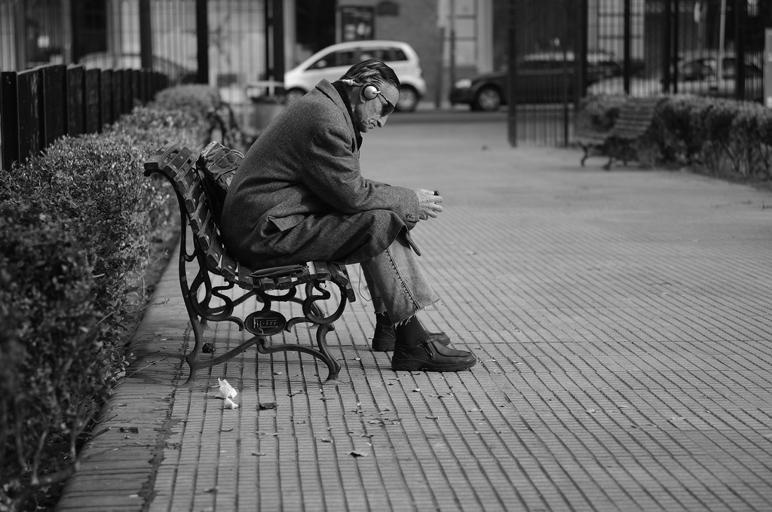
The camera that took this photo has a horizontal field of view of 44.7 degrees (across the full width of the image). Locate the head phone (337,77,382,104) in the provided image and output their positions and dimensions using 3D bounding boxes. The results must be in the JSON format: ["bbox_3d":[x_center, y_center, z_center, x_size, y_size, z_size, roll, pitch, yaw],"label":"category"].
[{"bbox_3d":[-0.149,-0.994,5.691,0.166,0.068,0.128,15,7,34],"label":"head phone"}]

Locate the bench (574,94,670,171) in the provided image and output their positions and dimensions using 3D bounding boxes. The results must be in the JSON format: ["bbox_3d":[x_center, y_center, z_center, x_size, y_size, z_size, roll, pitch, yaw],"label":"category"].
[{"bbox_3d":[2.429,-1.262,9.725,1.044,0.777,0.594,-17,27,-32],"label":"bench"}]

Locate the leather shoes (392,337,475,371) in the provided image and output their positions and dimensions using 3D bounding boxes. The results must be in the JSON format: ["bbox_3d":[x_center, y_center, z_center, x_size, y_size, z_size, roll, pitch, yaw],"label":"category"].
[{"bbox_3d":[0.301,0.634,5.993,0.516,0.230,0.214,-2,6,-4],"label":"leather shoes"}]

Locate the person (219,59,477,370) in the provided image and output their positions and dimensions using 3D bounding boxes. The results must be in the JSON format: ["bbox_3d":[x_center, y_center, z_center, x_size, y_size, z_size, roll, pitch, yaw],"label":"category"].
[{"bbox_3d":[-0.280,-0.223,5.766,1.418,1.880,0.544,-2,14,-10],"label":"person"}]
